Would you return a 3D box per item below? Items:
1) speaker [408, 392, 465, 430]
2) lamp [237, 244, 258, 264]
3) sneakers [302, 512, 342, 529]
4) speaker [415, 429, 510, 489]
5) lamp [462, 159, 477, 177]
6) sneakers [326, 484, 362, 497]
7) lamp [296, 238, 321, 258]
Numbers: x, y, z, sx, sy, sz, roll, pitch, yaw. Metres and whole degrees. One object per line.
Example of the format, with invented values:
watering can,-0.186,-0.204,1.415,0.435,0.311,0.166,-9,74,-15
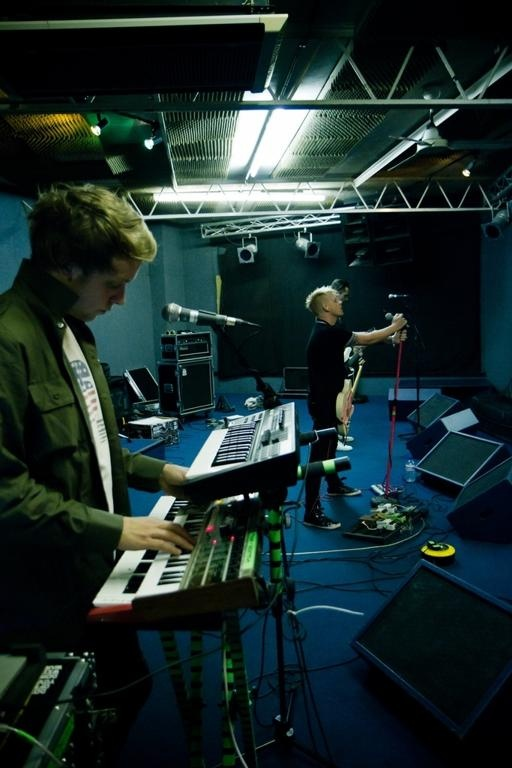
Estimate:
speaker,1.887,0.281,6.003,0.520,0.142,0.482,-42,8,-18
lamp,-0.133,-2.145,9.160,0.277,0.280,0.248,-6,8,-10
sneakers,0.433,0.912,3.771,0.268,0.116,0.094,-3,0,19
speaker,1.514,0.554,4.214,0.457,0.145,0.486,-38,24,-20
lamp,2.534,-2.594,6.692,0.107,0.108,0.328,-36,9,42
sneakers,0.679,0.830,4.376,0.273,0.111,0.099,-2,-1,2
lamp,0.841,-2.198,9.024,0.367,0.304,0.498,-3,8,7
